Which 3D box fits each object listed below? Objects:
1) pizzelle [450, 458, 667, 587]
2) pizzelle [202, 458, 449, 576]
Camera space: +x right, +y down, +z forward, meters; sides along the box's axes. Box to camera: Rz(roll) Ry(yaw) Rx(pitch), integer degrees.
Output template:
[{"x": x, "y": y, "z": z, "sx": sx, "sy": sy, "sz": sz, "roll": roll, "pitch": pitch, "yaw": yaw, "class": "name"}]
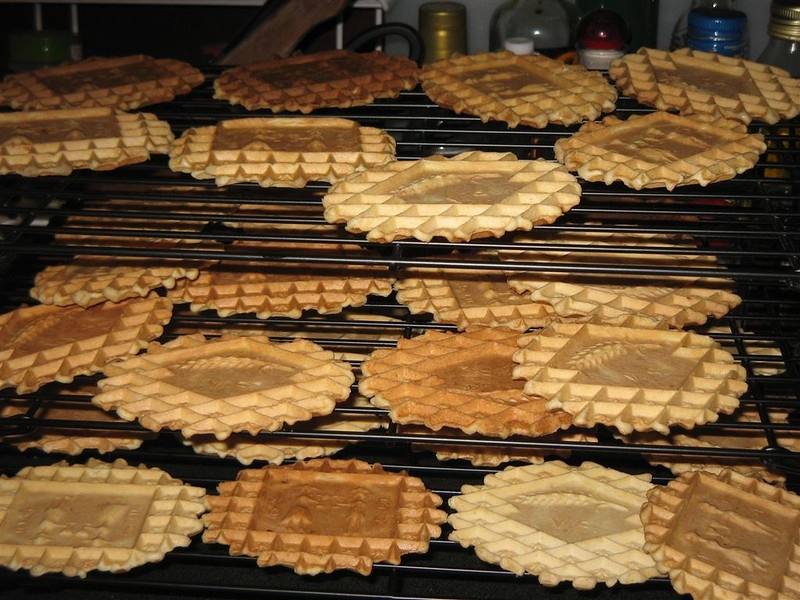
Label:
[{"x": 0.355, "y": 0.518, "z": 1.730, "sx": 0.486, "sy": 0.152, "sz": 0.336, "roll": 3, "pitch": 19, "yaw": 7, "class": "pizzelle"}, {"x": -0.166, "y": 0.501, "z": 1.758, "sx": 0.690, "sy": 0.278, "sz": 0.083, "roll": -6, "pitch": -37, "yaw": 32, "class": "pizzelle"}]
